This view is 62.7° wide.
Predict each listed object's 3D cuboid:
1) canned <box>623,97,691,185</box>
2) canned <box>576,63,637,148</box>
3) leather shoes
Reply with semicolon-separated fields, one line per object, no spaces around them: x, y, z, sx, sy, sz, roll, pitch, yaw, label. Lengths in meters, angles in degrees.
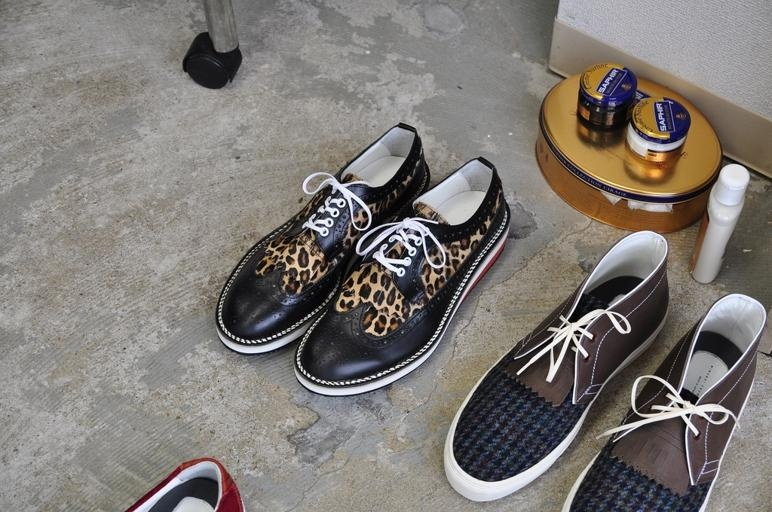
0.614;-0.269;1.530;0.160;0.172;0.182;4;56;7;canned
0.496;-0.360;1.576;0.165;0.188;0.180;1;51;4;canned
0.007;0.089;1.470;0.292;0.251;0.686;36;86;6;leather shoes
